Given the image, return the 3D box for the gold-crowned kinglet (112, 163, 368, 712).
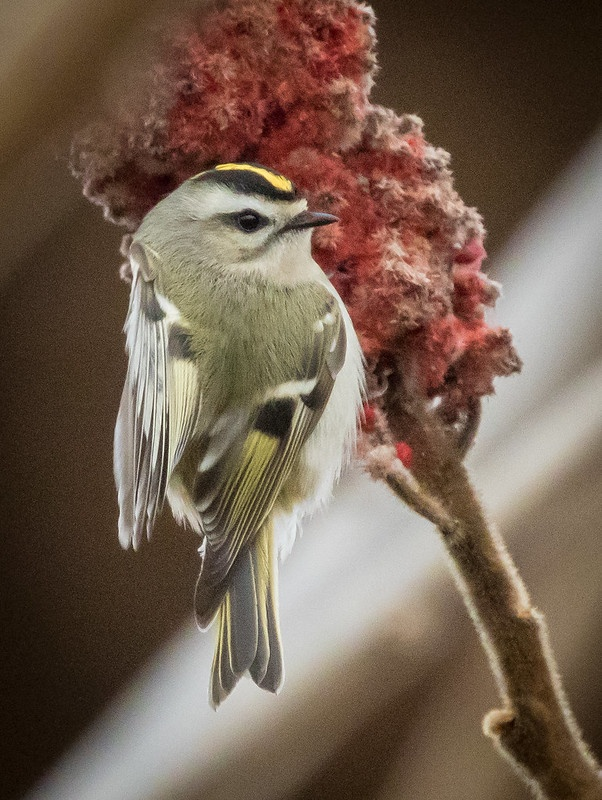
[{"bbox_3d":[-0.102,0.064,1.666,0.354,0.737,0.317,9,-13,2],"label":"gold-crowned kinglet"}]
